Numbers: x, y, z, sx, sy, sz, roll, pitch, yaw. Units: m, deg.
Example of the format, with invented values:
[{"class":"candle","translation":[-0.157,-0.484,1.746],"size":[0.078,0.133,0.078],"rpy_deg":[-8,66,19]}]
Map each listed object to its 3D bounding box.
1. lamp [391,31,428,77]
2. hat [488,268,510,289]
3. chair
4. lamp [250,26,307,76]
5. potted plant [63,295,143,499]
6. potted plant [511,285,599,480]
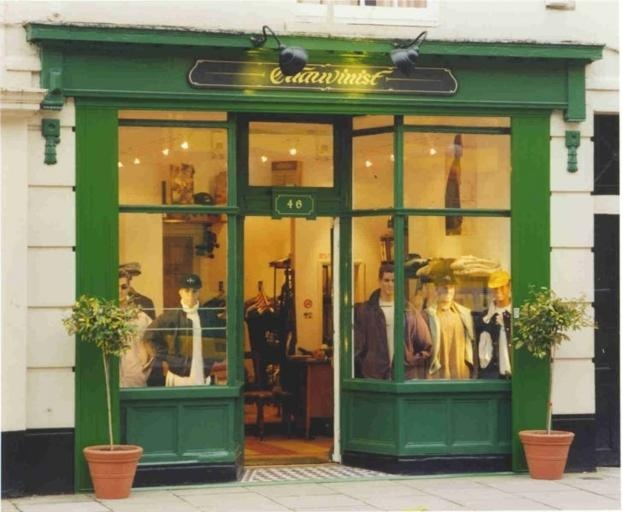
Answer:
[{"class":"lamp","translation":[1.135,-2.354,16.054],"size":[0.412,0.517,0.542],"rpy_deg":[0,-2,4]},{"class":"hat","translation":[2.277,0.272,16.657],"size":[0.196,0.127,0.263],"rpy_deg":[-20,4,24]},{"class":"chair","translation":[-0.587,1.924,18.636],"size":[0.599,0.961,1.341],"rpy_deg":[1,-2,-3]},{"class":"lamp","translation":[-0.358,-2.375,15.917],"size":[0.654,0.557,0.549],"rpy_deg":[1,-2,-1]},{"class":"potted plant","translation":[-2.348,1.565,15.505],"size":[0.838,2.250,0.685],"rpy_deg":[1,-3,-20]},{"class":"potted plant","translation":[2.845,1.473,16.186],"size":[0.965,2.233,0.777],"rpy_deg":[0,-2,8]}]
